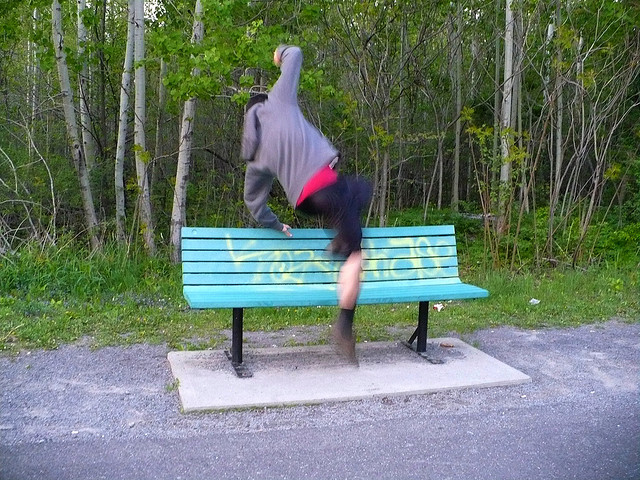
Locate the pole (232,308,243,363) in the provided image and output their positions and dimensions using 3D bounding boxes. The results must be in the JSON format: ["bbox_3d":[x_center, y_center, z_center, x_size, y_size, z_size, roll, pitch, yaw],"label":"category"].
[{"bbox_3d":[-0.838,0.959,5.585,0.098,0.583,0.078,2,11,2],"label":"pole"}]

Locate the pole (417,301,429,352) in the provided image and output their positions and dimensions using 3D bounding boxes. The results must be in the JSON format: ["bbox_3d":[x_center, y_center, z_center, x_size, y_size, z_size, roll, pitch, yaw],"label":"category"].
[{"bbox_3d":[1.147,0.949,6.173,0.101,0.620,0.202,3,11,11],"label":"pole"}]

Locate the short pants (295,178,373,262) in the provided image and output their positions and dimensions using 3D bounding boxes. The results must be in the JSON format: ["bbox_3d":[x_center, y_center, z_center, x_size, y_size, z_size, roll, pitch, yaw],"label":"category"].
[{"bbox_3d":[0.166,-0.197,5.131,0.758,0.745,0.270,-4,12,-24],"label":"short pants"}]
